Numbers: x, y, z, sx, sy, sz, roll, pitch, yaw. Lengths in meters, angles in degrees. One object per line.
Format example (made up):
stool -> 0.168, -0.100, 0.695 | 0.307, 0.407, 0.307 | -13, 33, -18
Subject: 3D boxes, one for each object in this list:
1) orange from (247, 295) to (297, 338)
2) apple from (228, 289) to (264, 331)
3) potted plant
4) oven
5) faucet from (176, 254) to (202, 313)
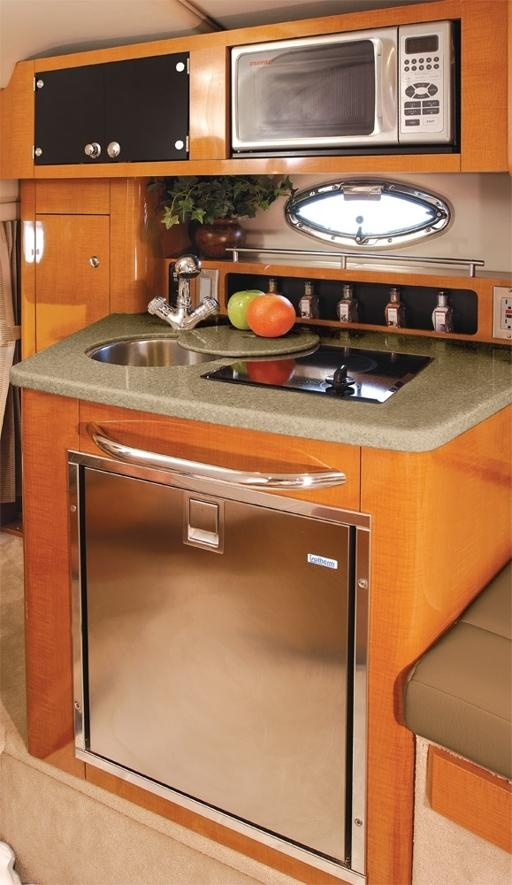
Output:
orange -> 0.038, -0.294, 1.688 | 0.095, 0.100, 0.099 | 3, 5, 23
apple -> -0.034, -0.338, 1.785 | 0.086, 0.098, 0.090 | -8, 13, -18
potted plant -> -0.106, -0.630, 1.936 | 0.396, 0.229, 0.259 | 8, 17, 35
oven -> -0.059, 0.388, 1.252 | 0.632, 0.690, 0.372 | 9, 14, 33
faucet -> -0.174, -0.404, 1.787 | 0.059, 0.139, 0.163 | -3, 14, -5
